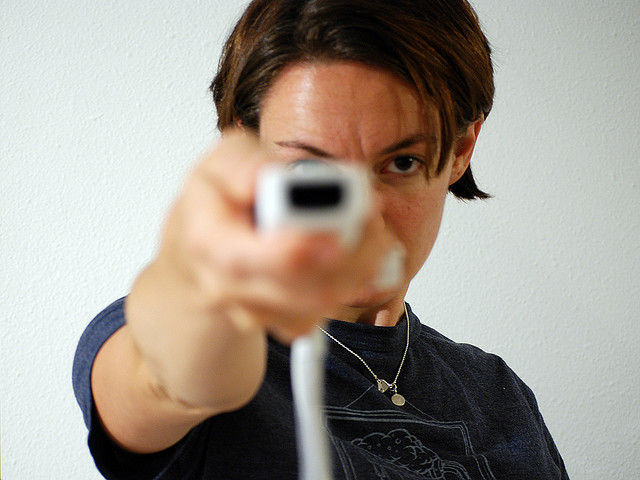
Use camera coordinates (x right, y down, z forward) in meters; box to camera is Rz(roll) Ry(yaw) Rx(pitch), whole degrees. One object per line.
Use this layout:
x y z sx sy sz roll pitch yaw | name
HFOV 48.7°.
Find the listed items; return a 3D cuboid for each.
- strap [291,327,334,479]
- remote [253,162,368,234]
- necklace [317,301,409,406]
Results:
-0.006 0.135 0.583 0.033 0.106 0.062 -4 6 -1 | strap
-0.013 -0.031 0.463 0.065 0.045 0.092 -1 15 -8 | remote
0.037 0.100 0.622 0.069 0.064 0.016 -11 -12 -42 | necklace
